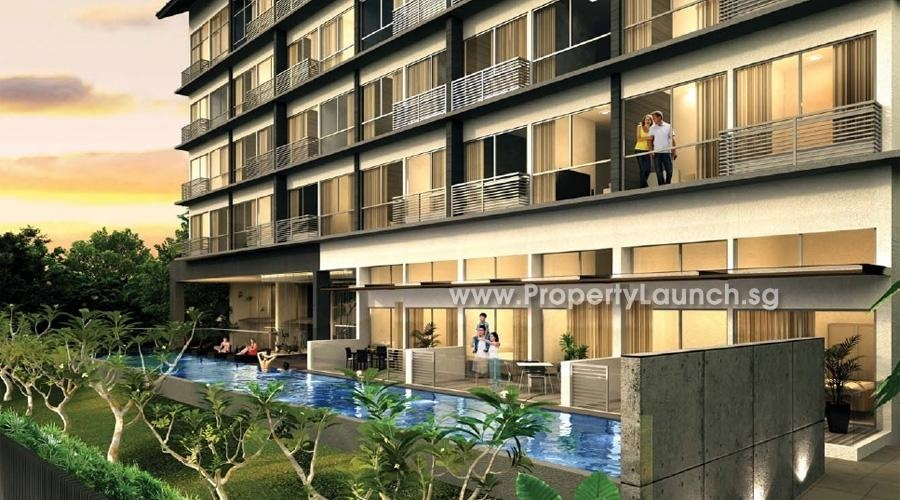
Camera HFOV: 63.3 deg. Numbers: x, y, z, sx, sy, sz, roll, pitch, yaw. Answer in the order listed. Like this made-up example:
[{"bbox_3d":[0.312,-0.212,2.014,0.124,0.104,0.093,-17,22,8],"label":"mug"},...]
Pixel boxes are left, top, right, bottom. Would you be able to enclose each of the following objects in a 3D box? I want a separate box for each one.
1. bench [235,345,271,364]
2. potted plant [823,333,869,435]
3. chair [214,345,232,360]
[{"bbox_3d":[-12.157,6.434,45.429,1.655,0.938,1.601,8,-12,-35],"label":"bench"},{"bbox_3d":[15.220,5.108,28.372,1.278,3.770,1.729,-3,-10,28],"label":"potted plant"},{"bbox_3d":[-14.516,6.486,47.100,0.744,0.853,3.414,7,-10,-28],"label":"chair"}]
